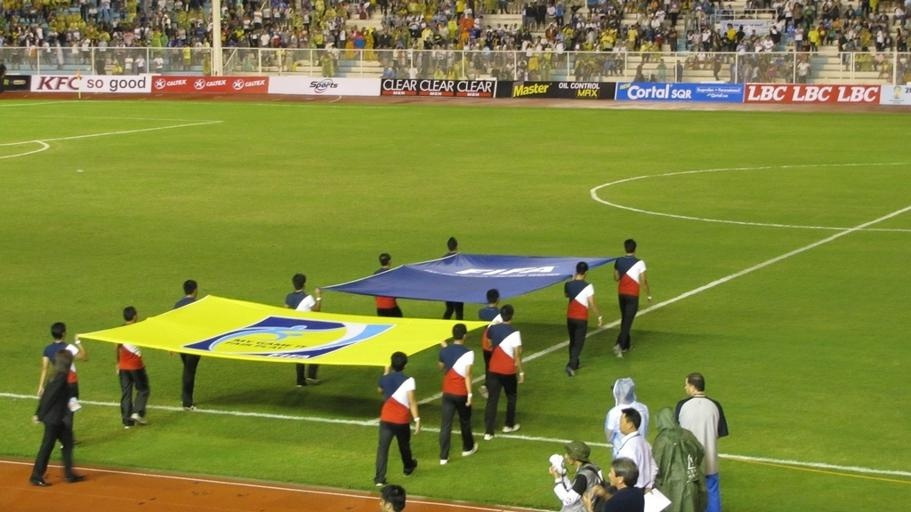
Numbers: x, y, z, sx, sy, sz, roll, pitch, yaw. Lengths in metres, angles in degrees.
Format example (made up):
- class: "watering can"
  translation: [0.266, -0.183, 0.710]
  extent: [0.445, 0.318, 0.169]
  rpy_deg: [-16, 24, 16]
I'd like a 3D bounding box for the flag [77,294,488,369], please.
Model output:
- class: "flag"
  translation: [-6.277, 3.086, 57.551]
  extent: [10.269, 0.937, 5.340]
  rpy_deg: [4, 14, 13]
